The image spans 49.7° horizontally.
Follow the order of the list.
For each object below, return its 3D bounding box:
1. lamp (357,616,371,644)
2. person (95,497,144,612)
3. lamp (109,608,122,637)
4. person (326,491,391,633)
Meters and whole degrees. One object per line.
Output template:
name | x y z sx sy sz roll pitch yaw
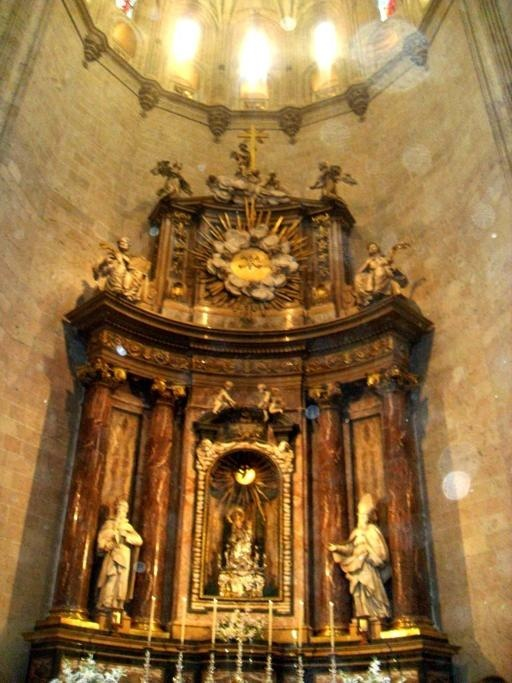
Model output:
lamp | 0.961 2.573 4.915 0.111 0.199 0.209 3 -27 0
person | -1.357 2.089 5.418 0.396 1.040 0.458 -3 -28 10
lamp | -1.264 2.525 4.939 0.139 0.220 0.144 3 -38 -9
person | 1.008 2.114 5.351 0.525 1.261 0.300 -20 -35 36
